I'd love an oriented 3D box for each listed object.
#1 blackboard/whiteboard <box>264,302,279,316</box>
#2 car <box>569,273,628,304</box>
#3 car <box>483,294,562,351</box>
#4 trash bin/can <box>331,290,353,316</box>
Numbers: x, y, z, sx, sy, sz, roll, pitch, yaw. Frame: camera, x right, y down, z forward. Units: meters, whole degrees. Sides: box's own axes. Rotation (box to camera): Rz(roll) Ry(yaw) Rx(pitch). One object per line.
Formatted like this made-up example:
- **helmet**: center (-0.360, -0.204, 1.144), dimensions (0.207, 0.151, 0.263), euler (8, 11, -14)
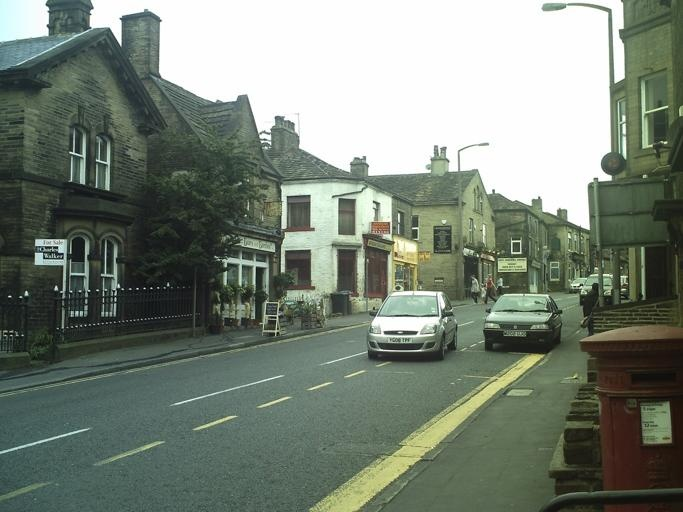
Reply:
- **blackboard/whiteboard**: center (-2.311, 1.760, 31.679), dimensions (0.479, 0.544, 0.055), euler (0, 9, 6)
- **car**: center (10.831, 1.411, 40.298), dimensions (1.318, 1.227, 2.244), euler (-5, -9, 43)
- **car**: center (5.118, 1.797, 26.800), dimensions (2.012, 1.635, 2.247), euler (-5, -6, 25)
- **trash bin/can**: center (-0.017, 2.074, 41.480), dimensions (0.503, 1.052, 1.308), euler (-6, -7, 42)
